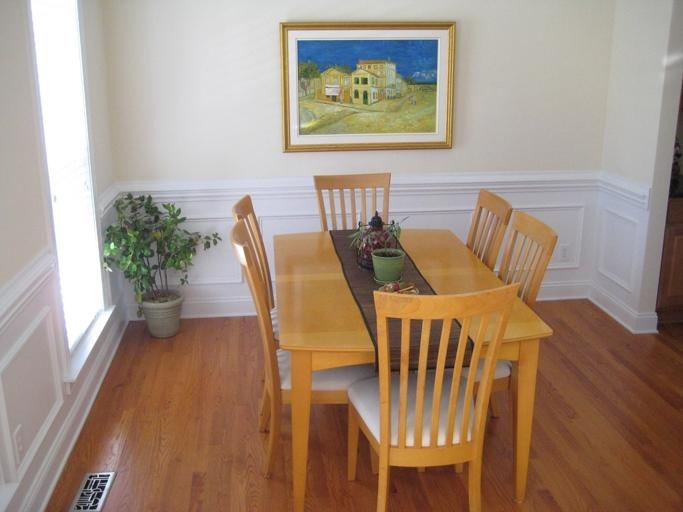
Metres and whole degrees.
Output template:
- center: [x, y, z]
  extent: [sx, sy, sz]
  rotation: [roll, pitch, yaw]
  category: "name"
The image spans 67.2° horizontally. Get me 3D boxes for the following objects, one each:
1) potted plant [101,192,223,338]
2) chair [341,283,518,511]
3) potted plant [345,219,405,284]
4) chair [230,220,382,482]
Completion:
- center: [-1.379, 0.031, 4.055]
  extent: [0.829, 1.105, 0.698]
  rotation: [-13, 24, -19]
  category: "potted plant"
- center: [0.367, 0.654, 2.333]
  extent: [0.737, 1.303, 0.525]
  rotation: [-5, 23, -1]
  category: "chair"
- center: [0.221, -0.038, 2.986]
  extent: [0.329, 0.488, 0.347]
  rotation: [-1, 5, 24]
  category: "potted plant"
- center: [-0.176, 0.543, 2.746]
  extent: [0.911, 1.524, 0.831]
  rotation: [-3, 24, -8]
  category: "chair"
